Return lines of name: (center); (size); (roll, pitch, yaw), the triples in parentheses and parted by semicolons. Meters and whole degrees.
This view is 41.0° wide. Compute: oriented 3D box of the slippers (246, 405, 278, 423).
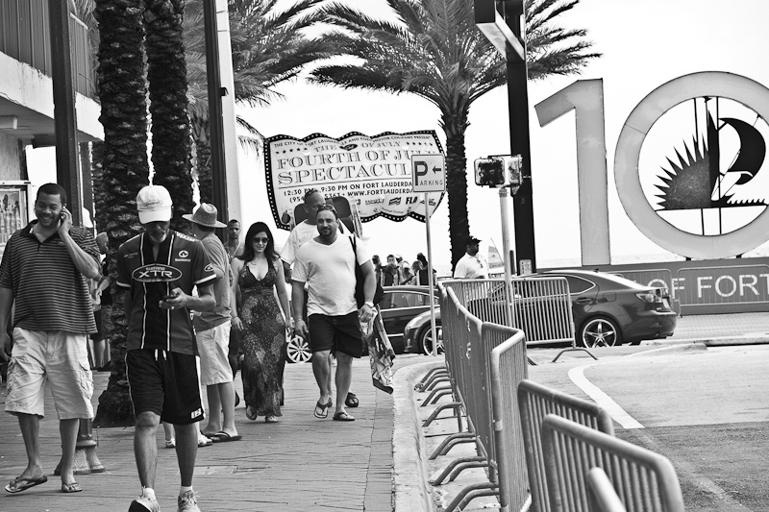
slippers: (-1.581, 2.021, 13.178); (0.495, 0.220, 0.166); (0, 1, 9)

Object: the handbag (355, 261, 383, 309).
handbag: (-0.309, 0.400, 13.490); (0.402, 0.530, 0.553); (2, 3, 9)

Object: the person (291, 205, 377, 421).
person: (-0.643, 0.720, 13.239); (1.103, 1.965, 0.732); (-4, -2, 5)

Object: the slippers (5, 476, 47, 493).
slippers: (-3.539, 2.228, 10.167); (0.404, 0.121, 0.164); (-3, 1, -25)

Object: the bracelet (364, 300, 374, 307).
bracelet: (-0.202, 0.637, 13.127); (0.110, 0.070, 0.102); (1, -40, -12)

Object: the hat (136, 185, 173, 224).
hat: (-2.171, -0.506, 9.632); (0.336, 0.279, 0.497); (-4, 30, -4)
